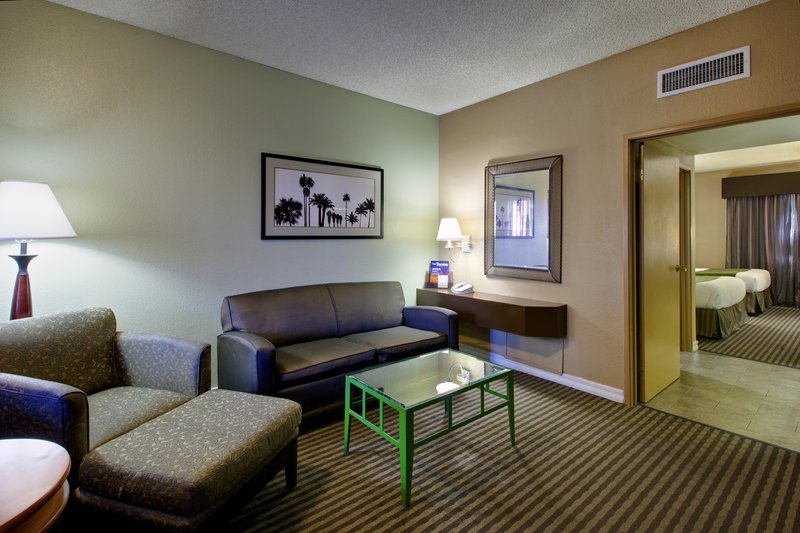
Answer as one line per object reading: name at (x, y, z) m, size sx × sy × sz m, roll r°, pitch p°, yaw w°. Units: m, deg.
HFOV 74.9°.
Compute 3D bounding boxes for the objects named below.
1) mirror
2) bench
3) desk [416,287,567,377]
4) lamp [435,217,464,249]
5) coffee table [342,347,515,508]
mirror at (1.251, -0.471, 5.224) m, size 0.796 × 1.195 × 0.069 m, roll 3°, pitch 6°, yaw 40°
bench at (-1.318, 1.184, 3.318) m, size 0.690 × 0.478 × 1.007 m, roll 2°, pitch 2°, yaw 19°
desk at (0.919, 0.669, 5.328) m, size 1.992 × 0.820 × 0.489 m, roll 5°, pitch 3°, yaw -29°
lamp at (0.577, -0.386, 5.861) m, size 0.301 × 0.348 × 0.394 m, roll 0°, pitch 4°, yaw 4°
coffee table at (0.186, 1.169, 4.110) m, size 1.125 × 0.839 × 1.022 m, roll -4°, pitch 5°, yaw -38°
